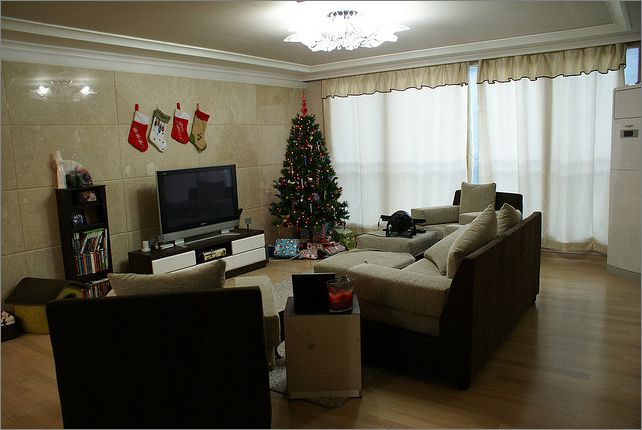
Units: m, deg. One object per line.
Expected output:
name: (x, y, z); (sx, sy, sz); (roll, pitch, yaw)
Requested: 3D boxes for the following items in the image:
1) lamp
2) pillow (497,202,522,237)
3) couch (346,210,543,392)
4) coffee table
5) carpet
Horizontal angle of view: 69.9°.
lamp: (0.246, -2.063, 5.097); (1.227, 0.362, 0.478); (-3, 9, 0)
pillow: (1.944, 0.057, 4.711); (0.173, 0.278, 0.332); (-5, 4, 44)
couch: (1.209, 0.232, 4.336); (1.217, 1.160, 2.310); (4, 9, 30)
coffee table: (0.035, 1.164, 4.220); (0.691, 0.738, 0.731); (0, 10, 3)
carpet: (0.040, 1.106, 3.928); (0.780, 0.270, 1.274); (-5, 47, 8)
